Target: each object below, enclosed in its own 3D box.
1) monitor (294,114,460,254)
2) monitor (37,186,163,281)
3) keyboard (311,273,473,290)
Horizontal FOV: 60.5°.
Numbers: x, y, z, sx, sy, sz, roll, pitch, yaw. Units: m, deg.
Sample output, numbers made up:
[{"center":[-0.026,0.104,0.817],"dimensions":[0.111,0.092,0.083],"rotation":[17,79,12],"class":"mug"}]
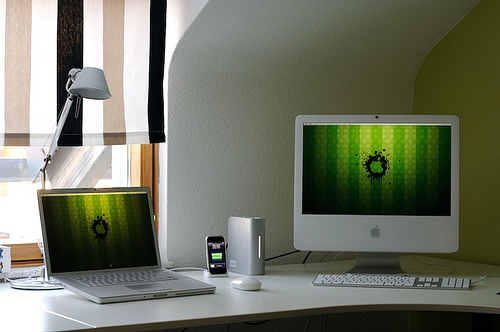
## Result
[{"center":[0.612,0.095,2.012],"dimensions":[0.667,0.544,0.049],"rotation":[2,-5,-4],"class":"monitor"},{"center":[-0.654,0.273,1.883],"dimensions":[0.593,0.386,0.369],"rotation":[-1,-42,-22],"class":"monitor"},{"center":[0.604,0.493,1.839],"dimensions":[0.666,0.034,0.111],"rotation":[2,6,6],"class":"keyboard"}]
